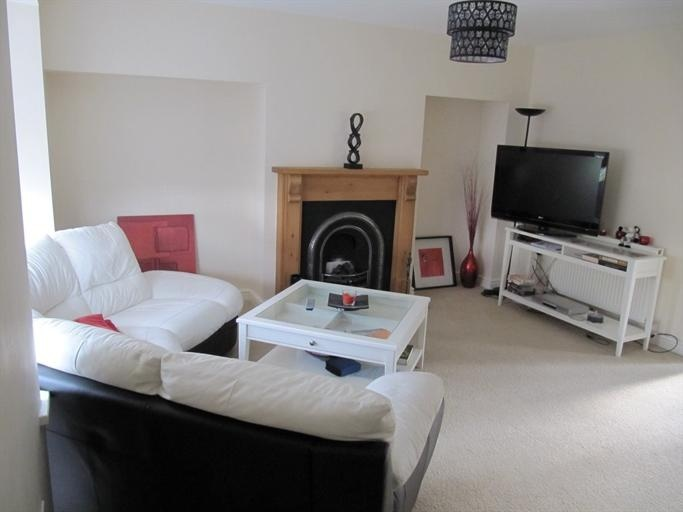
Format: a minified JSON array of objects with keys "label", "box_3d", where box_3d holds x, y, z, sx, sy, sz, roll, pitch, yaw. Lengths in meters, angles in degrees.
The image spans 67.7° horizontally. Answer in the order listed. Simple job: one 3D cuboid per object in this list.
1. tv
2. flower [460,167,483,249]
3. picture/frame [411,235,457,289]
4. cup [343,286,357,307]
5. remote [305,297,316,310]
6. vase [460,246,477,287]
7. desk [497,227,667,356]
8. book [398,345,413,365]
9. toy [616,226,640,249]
[{"label":"tv","box_3d":[2.144,-0.661,5.130,0.849,0.653,0.067,18,26,39]},{"label":"flower","box_3d":[1.584,-0.560,6.119,0.229,1.040,0.367,1,13,-6]},{"label":"picture/frame","box_3d":[1.090,0.093,6.120,0.546,0.602,0.041,-7,-1,-38]},{"label":"cup","box_3d":[0.062,0.314,3.935,0.110,0.132,0.121,-10,20,-36]},{"label":"remote","box_3d":[-0.236,0.366,3.849,0.066,0.073,0.127,1,-2,-3]},{"label":"vase","box_3d":[1.579,0.136,6.222,0.247,0.464,0.199,-6,15,-31]},{"label":"desk","box_3d":[2.381,0.363,4.942,0.309,0.704,0.990,-7,18,-23]},{"label":"book","box_3d":[0.478,0.734,3.790,0.089,0.030,0.140,3,30,17]},{"label":"toy","box_3d":[2.699,-0.179,4.797,0.186,0.202,0.085,2,-5,43]}]
